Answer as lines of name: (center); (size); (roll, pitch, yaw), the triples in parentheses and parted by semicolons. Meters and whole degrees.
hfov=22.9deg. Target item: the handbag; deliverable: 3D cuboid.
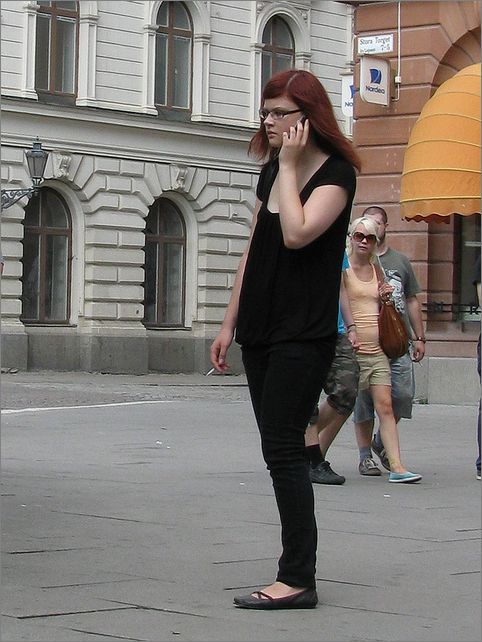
handbag: (0.939, 0.035, 7.279); (0.194, 0.387, 0.164); (0, 0, -1)

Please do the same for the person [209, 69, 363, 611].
person: (0.179, 0.034, 3.814); (0.399, 1.717, 0.434); (0, 0, 6)

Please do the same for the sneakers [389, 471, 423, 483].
sneakers: (0.973, 0.930, 7.000); (0.185, 0.078, 0.074); (-5, -14, 23)

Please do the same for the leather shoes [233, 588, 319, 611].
leather shoes: (0.109, 0.859, 3.644); (0.239, 0.105, 0.091); (5, -11, -10)
